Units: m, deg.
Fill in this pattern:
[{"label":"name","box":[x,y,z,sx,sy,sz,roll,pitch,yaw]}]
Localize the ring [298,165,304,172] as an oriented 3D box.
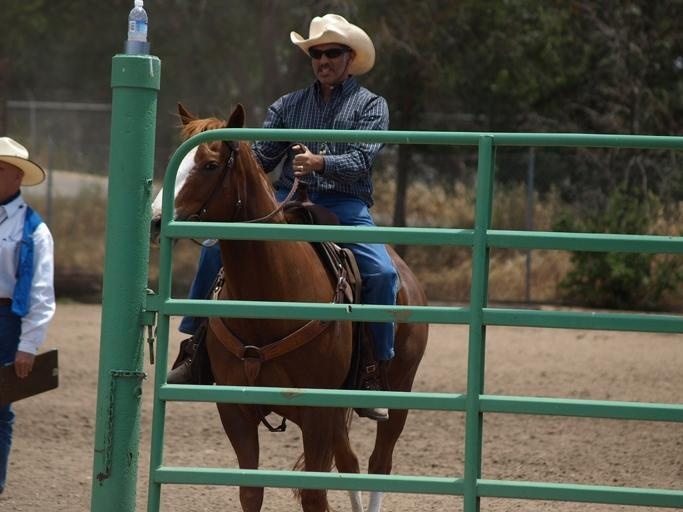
[{"label":"ring","box":[-0.477,-0.927,21.116,0.061,0.081,0.025,3,6,-6]}]
